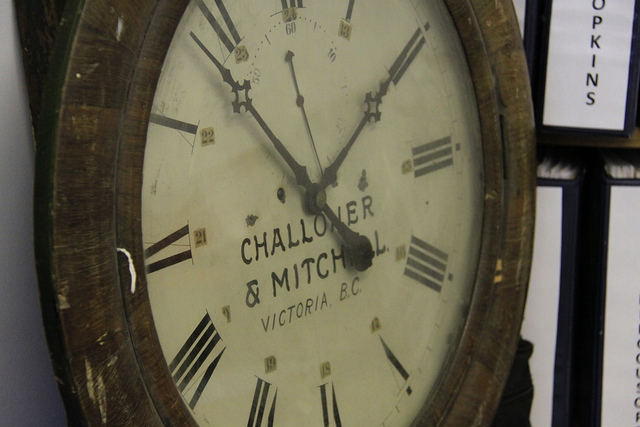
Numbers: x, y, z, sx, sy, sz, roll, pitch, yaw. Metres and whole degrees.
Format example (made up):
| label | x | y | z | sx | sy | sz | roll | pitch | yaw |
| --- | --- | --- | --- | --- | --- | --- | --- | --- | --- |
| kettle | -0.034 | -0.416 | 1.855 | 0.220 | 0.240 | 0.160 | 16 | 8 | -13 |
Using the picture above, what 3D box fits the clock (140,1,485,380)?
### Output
| label | x | y | z | sx | sy | sz | roll | pitch | yaw |
| --- | --- | --- | --- | --- | --- | --- | --- | --- | --- |
| clock | -0.028 | -0.046 | 1.704 | 0.459 | 0.061 | 0.637 | -4 | -83 | -38 |
